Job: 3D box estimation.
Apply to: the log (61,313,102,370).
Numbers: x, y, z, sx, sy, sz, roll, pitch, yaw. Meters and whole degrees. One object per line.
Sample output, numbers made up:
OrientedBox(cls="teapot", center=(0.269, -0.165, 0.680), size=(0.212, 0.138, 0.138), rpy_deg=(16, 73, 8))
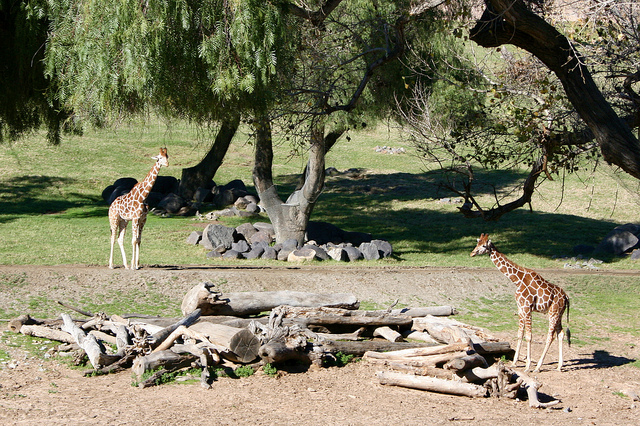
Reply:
OrientedBox(cls="log", center=(-5.940, 3.219, 25.169), size=(2.402, 0.511, 0.435), rpy_deg=(29, -20, 44))

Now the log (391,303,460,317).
OrientedBox(cls="log", center=(2.855, 2.711, 27.782), size=(1.940, 0.332, 0.396), rpy_deg=(1, 9, -26))

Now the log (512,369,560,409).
OrientedBox(cls="log", center=(5.287, 4.321, 24.436), size=(1.050, 0.722, 0.619), rpy_deg=(2, 6, 11))

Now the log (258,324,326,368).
OrientedBox(cls="log", center=(-0.960, 3.375, 25.482), size=(2.050, 1.093, 2.578), rpy_deg=(-4, -5, 18))

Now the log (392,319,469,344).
OrientedBox(cls="log", center=(3.031, 3.147, 26.263), size=(2.034, 0.475, 0.740), rpy_deg=(7, 8, 44))

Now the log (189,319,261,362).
OrientedBox(cls="log", center=(-2.213, 3.146, 24.914), size=(1.558, 0.861, 0.685), rpy_deg=(9, 45, 31))

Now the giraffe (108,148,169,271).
OrientedBox(cls="giraffe", center=(-5.600, -0.127, 29.950), size=(2.231, 3.674, 1.115), rpy_deg=(6, 7, 41))

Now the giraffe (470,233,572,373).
OrientedBox(cls="giraffe", center=(5.293, 2.287, 25.759), size=(2.272, 3.446, 1.430), rpy_deg=(2, 5, 5))

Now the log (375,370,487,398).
OrientedBox(cls="log", center=(2.762, 4.225, 24.572), size=(1.653, 0.391, 0.344), rpy_deg=(7, -16, 7))
